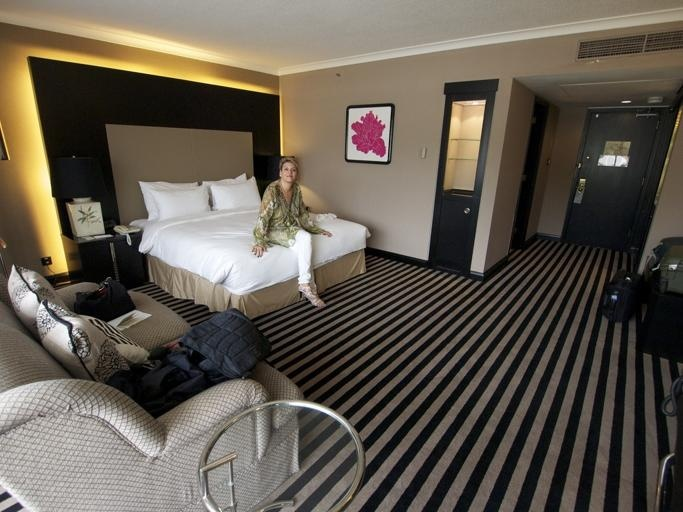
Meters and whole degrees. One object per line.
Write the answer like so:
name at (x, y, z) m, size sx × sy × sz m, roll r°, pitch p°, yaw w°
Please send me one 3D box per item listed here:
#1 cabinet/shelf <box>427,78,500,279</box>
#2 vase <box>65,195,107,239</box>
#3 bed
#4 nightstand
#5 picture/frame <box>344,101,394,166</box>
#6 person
cabinet/shelf at (1.414, -0.891, 5.052) m, size 0.660 × 2.159 × 0.453 m, roll 7°, pitch 22°, yaw 24°
vase at (-2.642, -0.396, 4.409) m, size 0.322 × 0.475 × 0.244 m, roll -17°, pitch 27°, yaw -41°
bed at (-1.233, -0.089, 4.634) m, size 1.763 × 1.048 × 1.830 m, roll 15°, pitch 23°, yaw 39°
nightstand at (-2.377, 0.010, 4.377) m, size 0.276 × 0.566 × 0.475 m, roll 13°, pitch 21°, yaw 33°
picture/frame at (0.379, -1.587, 5.506) m, size 0.734 × 0.739 × 0.074 m, roll 16°, pitch 24°, yaw 38°
person at (-0.481, -0.289, 4.390) m, size 0.889 × 1.317 × 0.929 m, roll 15°, pitch 22°, yaw 30°
